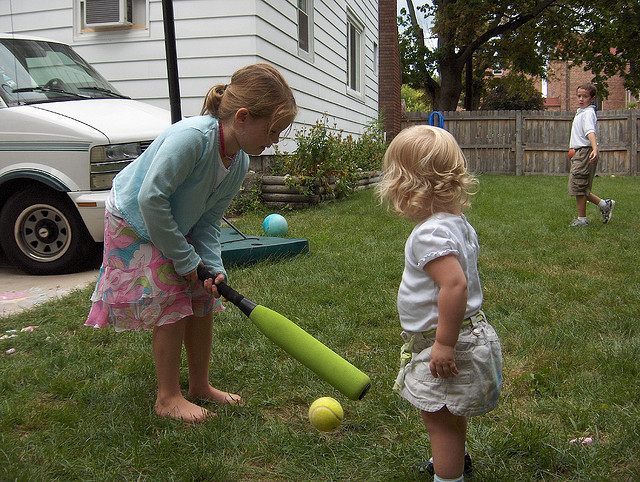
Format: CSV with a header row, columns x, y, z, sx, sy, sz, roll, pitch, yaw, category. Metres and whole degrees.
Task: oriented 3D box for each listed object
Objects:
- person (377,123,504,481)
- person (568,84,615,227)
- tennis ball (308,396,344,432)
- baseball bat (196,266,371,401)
x,y,z,sx,sy,sz,roll,pitch,yaw,category
0.486,0.224,2.192,0.385,1.325,0.529,-7,15,-26,person
3.407,-1.082,6.800,0.520,1.708,1.279,6,15,24,person
0.036,0.805,2.519,0.140,0.155,0.147,-6,0,0,tennis ball
-0.212,0.553,3.156,0.995,0.141,0.139,36,-9,26,baseball bat
